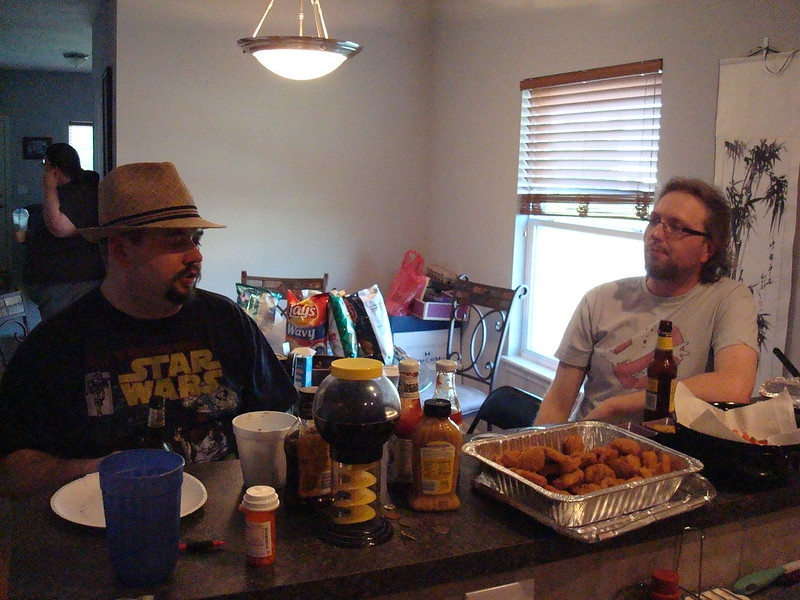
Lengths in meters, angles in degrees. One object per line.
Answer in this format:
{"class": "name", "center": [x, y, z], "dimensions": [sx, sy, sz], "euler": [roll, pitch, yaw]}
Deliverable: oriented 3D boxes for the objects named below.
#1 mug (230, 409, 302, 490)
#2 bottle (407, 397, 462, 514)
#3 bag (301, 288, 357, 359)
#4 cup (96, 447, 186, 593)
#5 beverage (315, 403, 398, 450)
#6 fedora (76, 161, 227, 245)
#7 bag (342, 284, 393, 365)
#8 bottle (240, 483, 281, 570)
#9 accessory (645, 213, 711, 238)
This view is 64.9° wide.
{"class": "mug", "center": [-0.307, 0.352, 1.524], "dimensions": [0.169, 0.153, 0.178], "euler": [1, 1, 4]}
{"class": "bottle", "center": [0.098, 0.342, 1.402], "dimensions": [0.145, 0.258, 0.067], "euler": [-7, 13, -34]}
{"class": "bag", "center": [-0.322, 0.126, 3.126], "dimensions": [0.120, 0.336, 0.241], "euler": [-16, 10, -23]}
{"class": "cup", "center": [-0.495, 0.412, 1.225], "dimensions": [0.180, 0.217, 0.152], "euler": [9, 14, 39]}
{"class": "beverage", "center": [-0.101, 0.269, 1.328], "dimensions": [0.181, 0.073, 0.181], "euler": [13, -2, 18]}
{"class": "fedora", "center": [-0.775, -0.260, 1.897], "dimensions": [0.288, 0.142, 0.258], "euler": [-10, 4, 21]}
{"class": "bag", "center": [-0.201, 0.169, 3.412], "dimensions": [0.389, 0.260, 0.107], "euler": [14, -33, -32]}
{"class": "bottle", "center": [-0.273, 0.442, 1.230], "dimensions": [0.066, 0.142, 0.055], "euler": [-3, 11, -17]}
{"class": "accessory", "center": [1.030, -0.256, 2.299], "dimensions": [0.131, 0.036, 0.121], "euler": [13, 12, -17]}
